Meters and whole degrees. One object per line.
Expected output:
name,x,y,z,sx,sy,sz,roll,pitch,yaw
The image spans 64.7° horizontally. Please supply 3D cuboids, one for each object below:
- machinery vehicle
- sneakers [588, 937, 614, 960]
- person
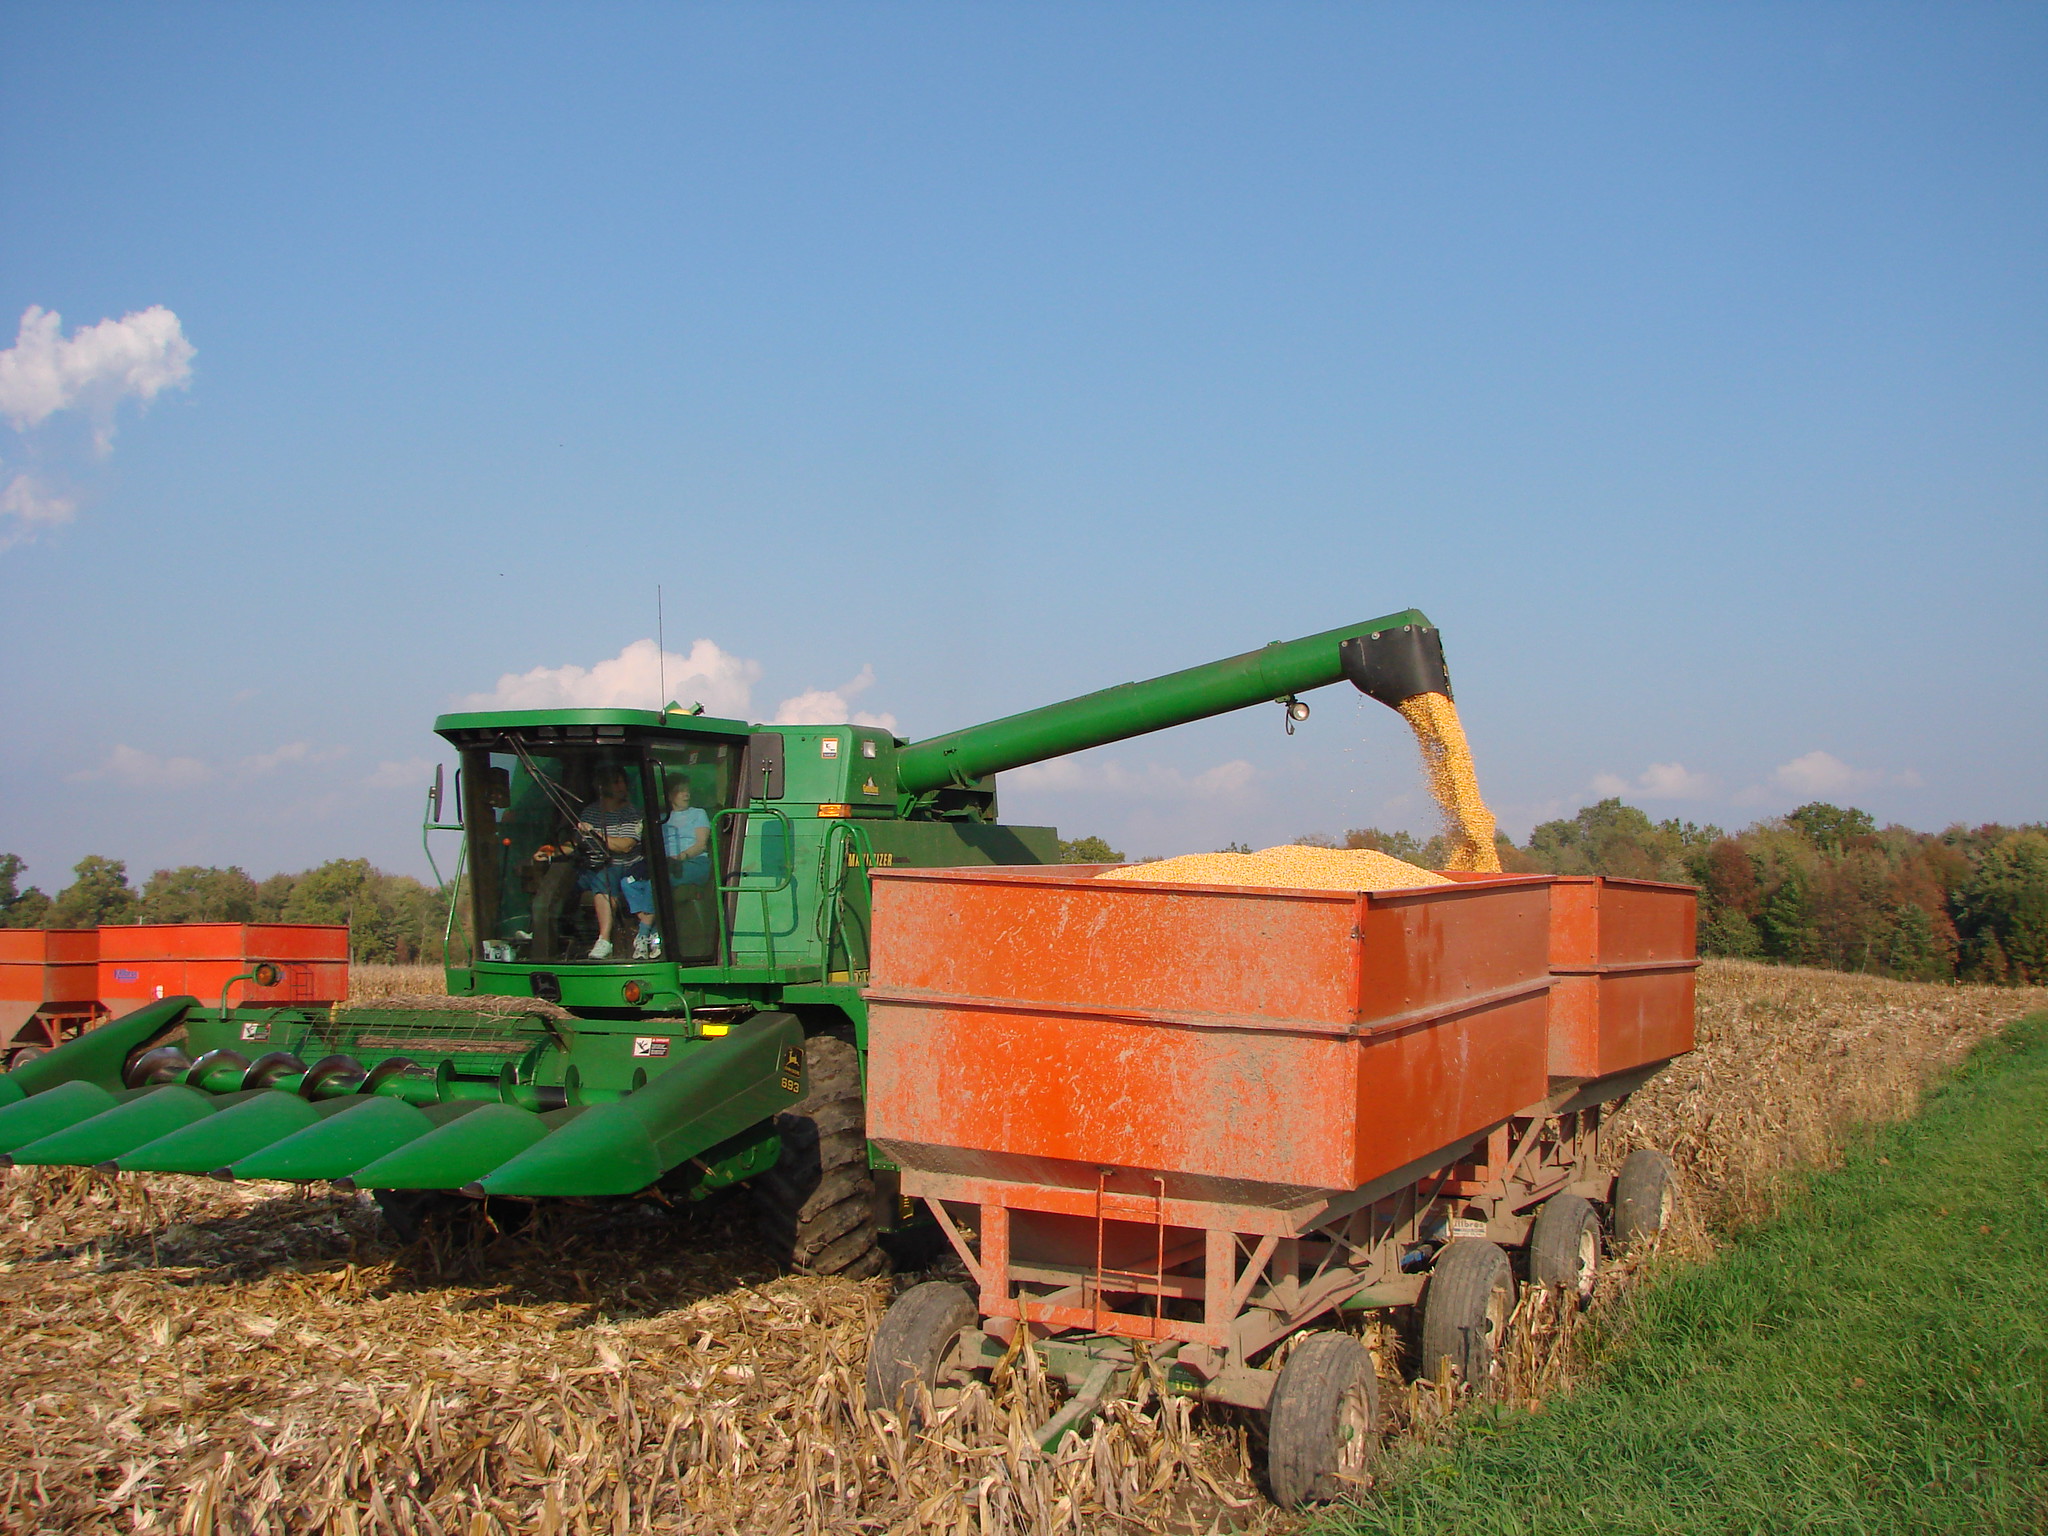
machinery vehicle,-1.249,1.091,10.333,9.115,2.892,5.283,1,-1,23
sneakers,-2.765,1.203,10.707,0.108,0.095,0.170,1,10,10
person,-2.607,0.630,10.713,0.884,1.454,0.858,-8,-30,5
